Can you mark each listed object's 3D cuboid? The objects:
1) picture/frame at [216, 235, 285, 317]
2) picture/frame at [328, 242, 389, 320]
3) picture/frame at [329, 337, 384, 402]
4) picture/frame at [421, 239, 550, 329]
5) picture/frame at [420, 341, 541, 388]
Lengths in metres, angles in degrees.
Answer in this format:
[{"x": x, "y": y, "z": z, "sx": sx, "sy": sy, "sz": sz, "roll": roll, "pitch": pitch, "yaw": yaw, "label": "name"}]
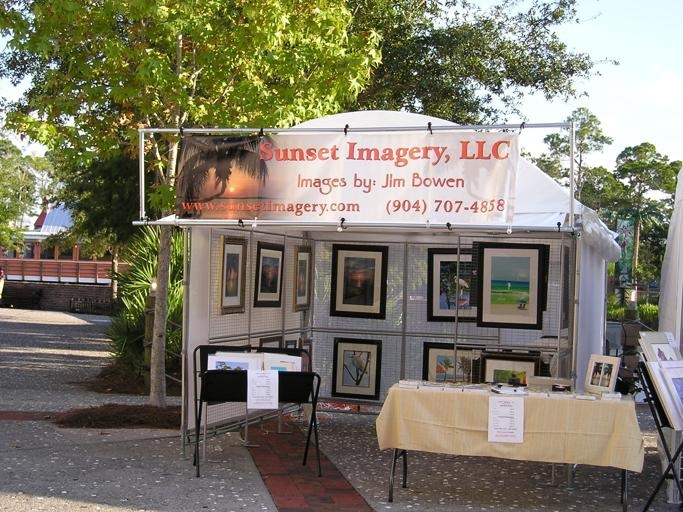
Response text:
[{"x": -1.232, "y": 0.252, "z": 10.060, "sx": 0.083, "sy": 0.763, "sz": 1.128, "roll": 1, "pitch": -3, "yaw": 24, "label": "picture/frame"}, {"x": 0.297, "y": 0.368, "z": 11.348, "sx": 1.104, "sy": 1.370, "sz": 0.099, "roll": 3, "pitch": 0, "yaw": 9, "label": "picture/frame"}, {"x": 0.251, "y": 1.690, "z": 11.188, "sx": 0.898, "sy": 1.057, "sz": 0.054, "roll": 4, "pitch": -10, "yaw": 4, "label": "picture/frame"}, {"x": 2.081, "y": 0.386, "z": 10.560, "sx": 1.296, "sy": 0.911, "sz": 0.061, "roll": 2, "pitch": 5, "yaw": 26, "label": "picture/frame"}, {"x": 1.891, "y": 1.528, "z": 10.620, "sx": 1.715, "sy": 0.565, "sz": 0.472, "roll": 3, "pitch": 1, "yaw": 33, "label": "picture/frame"}]
